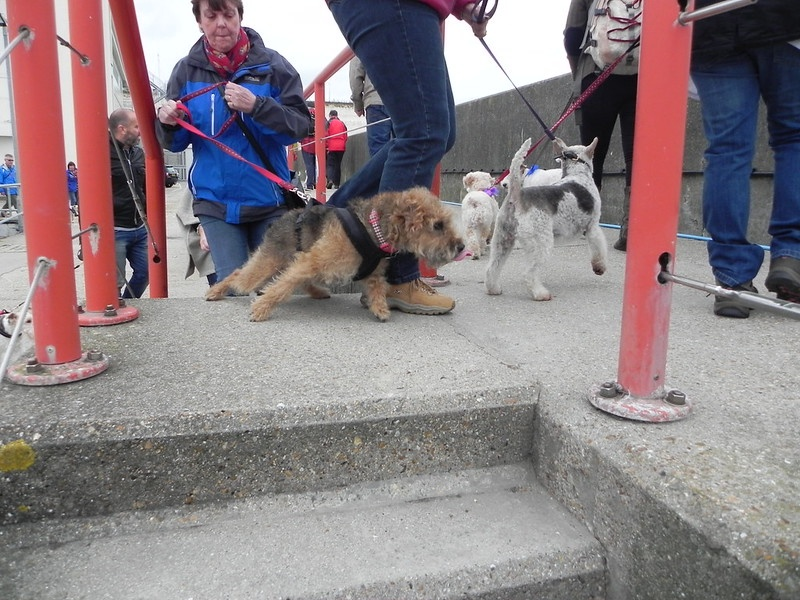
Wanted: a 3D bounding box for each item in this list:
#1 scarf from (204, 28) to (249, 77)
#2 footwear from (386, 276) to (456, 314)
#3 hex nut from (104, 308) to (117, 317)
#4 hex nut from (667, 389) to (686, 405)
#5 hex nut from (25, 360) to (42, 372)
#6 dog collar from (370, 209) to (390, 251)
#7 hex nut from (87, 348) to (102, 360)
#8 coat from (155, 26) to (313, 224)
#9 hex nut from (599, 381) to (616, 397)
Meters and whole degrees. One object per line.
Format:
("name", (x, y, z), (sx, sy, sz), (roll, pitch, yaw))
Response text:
("scarf", (-1.130, -1.628, 3.602), (0.234, 0.197, 0.332), (-7, 23, -14))
("footwear", (0.138, -0.041, 3.300), (0.423, 0.248, 0.175), (2, 22, 7))
("hex nut", (-1.466, 0.059, 2.776), (0.046, 0.036, 0.047), (2, 5, 39))
("hex nut", (0.986, 0.348, 1.951), (0.046, 0.020, 0.048), (-3, 10, -7))
("hex nut", (-1.389, 0.255, 2.082), (0.046, 0.049, 0.047), (-1, -2, -25))
("dog collar", (-0.086, -0.392, 3.083), (0.056, 0.198, 0.146), (-20, 16, -30))
("hex nut", (-1.242, 0.227, 2.228), (0.080, 0.028, 0.048), (7, 15, 39))
("coat", (-1.188, -1.216, 3.854), (0.924, 1.321, 0.726), (-1, 16, -7))
("hex nut", (0.756, 0.329, 1.993), (0.045, 0.032, 0.048), (-5, 13, -11))
